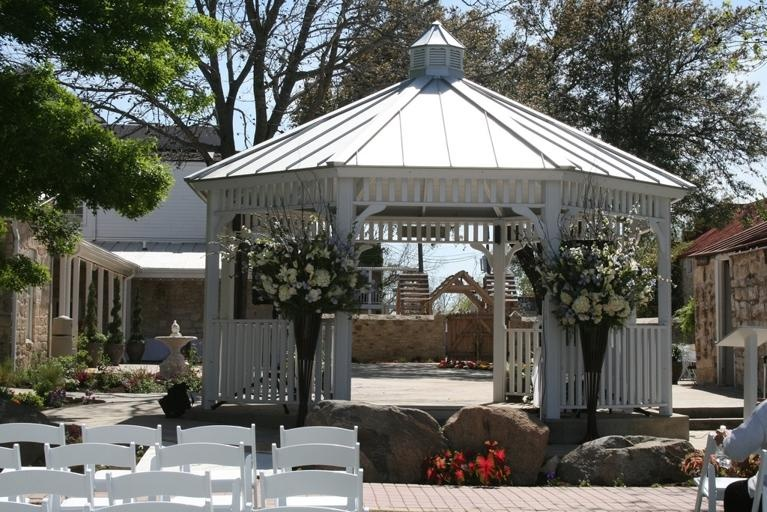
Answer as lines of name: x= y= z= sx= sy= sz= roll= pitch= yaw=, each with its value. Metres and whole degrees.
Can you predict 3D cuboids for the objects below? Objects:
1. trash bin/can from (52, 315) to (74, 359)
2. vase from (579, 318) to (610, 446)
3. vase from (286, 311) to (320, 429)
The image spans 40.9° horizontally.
trash bin/can: x=-7.819 y=2.007 z=24.633 sx=0.525 sy=1.110 sz=0.531 roll=4 pitch=-7 yaw=-38
vase: x=3.422 y=2.062 z=16.784 sx=0.494 sy=1.913 sz=0.544 roll=2 pitch=-7 yaw=-5
vase: x=-1.289 y=1.858 z=16.810 sx=0.468 sy=1.826 sz=0.468 roll=2 pitch=-7 yaw=-6
